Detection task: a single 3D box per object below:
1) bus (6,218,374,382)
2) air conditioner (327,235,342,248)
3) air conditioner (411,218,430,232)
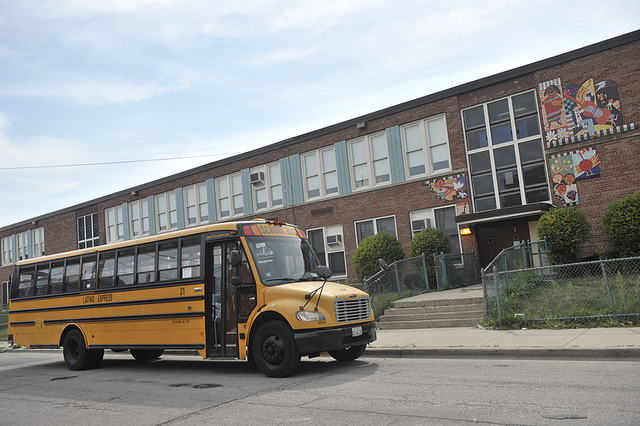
[{"bbox_3d":[-4.766,2.565,14.587,12.817,2.811,2.473,-7,-3,29],"label":"bus"},{"bbox_3d":[0.825,1.723,28.619,0.915,0.733,0.598,-4,-5,28],"label":"air conditioner"},{"bbox_3d":[5.391,0.624,25.725,0.666,0.607,0.915,6,-9,-38],"label":"air conditioner"}]
